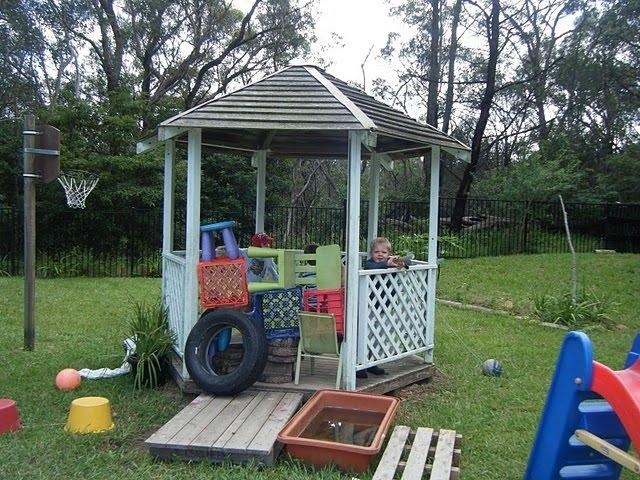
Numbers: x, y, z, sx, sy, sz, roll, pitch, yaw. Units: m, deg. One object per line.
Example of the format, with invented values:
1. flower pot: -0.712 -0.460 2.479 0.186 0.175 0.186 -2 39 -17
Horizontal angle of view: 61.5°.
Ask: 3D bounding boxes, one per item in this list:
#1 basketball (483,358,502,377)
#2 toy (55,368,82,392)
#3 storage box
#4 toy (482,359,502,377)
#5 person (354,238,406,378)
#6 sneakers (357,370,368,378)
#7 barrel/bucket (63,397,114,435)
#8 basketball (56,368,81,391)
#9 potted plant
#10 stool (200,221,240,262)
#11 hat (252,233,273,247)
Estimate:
1. basketball: 2.355 1.747 7.350 0.195 0.224 0.205 4 -17 7
2. toy: -3.138 1.753 6.719 0.288 0.268 0.249 -13 -29 -36
3. storage box: 0.219 1.958 5.550 1.014 0.372 1.036 1 0 19
4. toy: 2.349 1.752 7.350 0.196 0.226 0.206 2 -20 12
5. person: 0.819 0.856 6.995 0.609 1.776 0.889 1 1 10
6. sneakers: 0.529 1.686 6.784 0.117 0.137 0.077 0 -1 7
7. barrel/bucket: -2.472 1.886 5.786 0.475 0.283 0.414 2 1 40
8. basketball: -3.156 1.825 6.755 0.280 0.269 0.252 -2 -40 -22
9. potted plant: -2.205 1.325 7.051 0.570 1.084 0.713 1 1 -19
10. stool: -1.251 0.003 6.697 0.473 0.494 0.739 1 1 -13
11. hat: -0.840 -0.003 7.730 0.186 0.270 0.230 -3 8 -11
